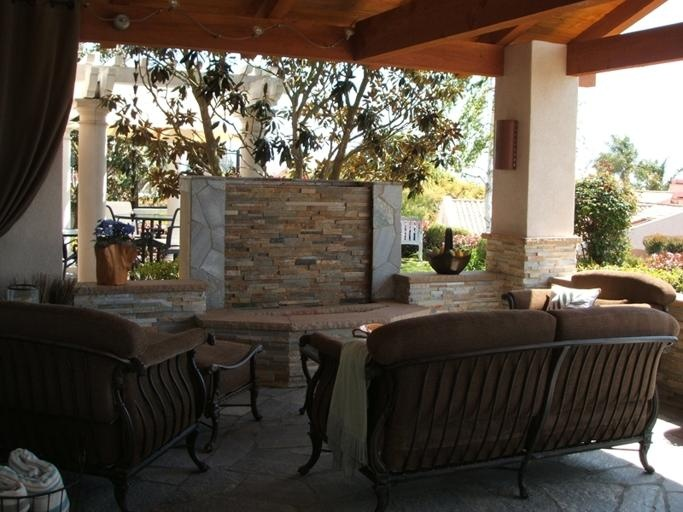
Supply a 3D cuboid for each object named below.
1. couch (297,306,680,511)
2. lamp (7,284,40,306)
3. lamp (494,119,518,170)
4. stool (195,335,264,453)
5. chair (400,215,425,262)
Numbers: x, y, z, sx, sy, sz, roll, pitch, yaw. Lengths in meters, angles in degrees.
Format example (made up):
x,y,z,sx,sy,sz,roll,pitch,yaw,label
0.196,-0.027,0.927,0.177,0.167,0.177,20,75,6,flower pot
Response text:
x,y,z,sx,sy,sz,roll,pitch,yaw,label
0.965,0.867,3.272,2.064,1.153,0.420,-1,7,-20,couch
-2.352,0.292,4.058,0.135,0.129,0.135,1,0,0,lamp
1.916,-1.254,6.284,0.285,0.559,0.174,-21,26,-37,lamp
-0.814,0.968,3.894,0.439,0.453,0.564,-16,1,44,stool
1.603,-0.363,11.938,0.617,0.899,0.299,-3,8,-35,chair
